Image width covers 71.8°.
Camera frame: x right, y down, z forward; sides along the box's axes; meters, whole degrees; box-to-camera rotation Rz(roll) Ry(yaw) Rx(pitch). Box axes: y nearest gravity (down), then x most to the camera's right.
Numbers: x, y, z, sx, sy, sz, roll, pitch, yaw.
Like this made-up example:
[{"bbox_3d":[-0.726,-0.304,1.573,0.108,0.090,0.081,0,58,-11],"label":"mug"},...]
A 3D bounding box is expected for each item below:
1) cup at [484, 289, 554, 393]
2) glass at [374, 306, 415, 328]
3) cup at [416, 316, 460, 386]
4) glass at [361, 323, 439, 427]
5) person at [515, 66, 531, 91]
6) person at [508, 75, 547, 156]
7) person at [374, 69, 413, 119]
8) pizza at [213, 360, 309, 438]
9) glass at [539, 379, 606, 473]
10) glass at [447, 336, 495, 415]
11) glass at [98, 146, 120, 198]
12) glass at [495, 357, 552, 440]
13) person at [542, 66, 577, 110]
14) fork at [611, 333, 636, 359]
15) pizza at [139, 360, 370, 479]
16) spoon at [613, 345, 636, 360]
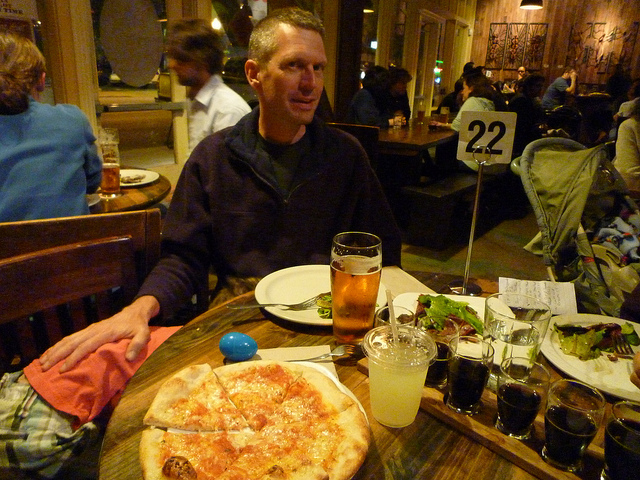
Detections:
[{"bbox_3d":[0.537,0.275,1.245,0.152,0.216,0.146,-2,6,0],"label":"cup"},{"bbox_3d":[0.211,0.208,1.275,0.079,0.055,0.076,-2,8,-7],"label":"glass"},{"bbox_3d":[0.296,0.315,1.255,0.137,0.191,0.123,9,-13,-18],"label":"cup"},{"bbox_3d":[0.191,0.320,1.100,0.155,0.230,0.158,-9,25,-25],"label":"glass"},{"bbox_3d":[2.705,-2.170,5.925,0.154,0.288,0.755,10,22,20],"label":"person"},{"bbox_3d":[2.842,-1.685,6.152,0.500,1.119,1.372,12,24,23],"label":"person"},{"bbox_3d":[1.089,-2.156,6.678,0.619,0.809,0.520,-7,21,-22],"label":"person"},{"bbox_3d":[-0.130,0.356,1.127,0.213,0.040,0.227,-22,37,-28],"label":"pizza"},{"bbox_3d":[0.572,0.429,1.009,0.129,0.188,0.130,12,20,37],"label":"glass"},{"bbox_3d":[0.376,0.350,1.134,0.120,0.168,0.113,0,12,-21],"label":"glass"},{"bbox_3d":[-1.271,-0.411,2.662,0.128,0.294,0.179,-9,25,-25],"label":"glass"},{"bbox_3d":[0.490,0.393,1.089,0.123,0.176,0.116,2,18,9],"label":"glass"},{"bbox_3d":[2.755,-1.744,5.142,0.268,0.456,2.086,12,23,23],"label":"person"},{"bbox_3d":[0.895,0.312,1.303,0.038,0.011,0.074,4,40,0],"label":"fork"},{"bbox_3d":[-0.150,0.412,1.024,0.507,0.090,0.328,-1,21,-8],"label":"pizza"},{"bbox_3d":[0.893,0.331,1.294,0.070,0.016,0.036,-4,22,-15],"label":"spoon"}]
